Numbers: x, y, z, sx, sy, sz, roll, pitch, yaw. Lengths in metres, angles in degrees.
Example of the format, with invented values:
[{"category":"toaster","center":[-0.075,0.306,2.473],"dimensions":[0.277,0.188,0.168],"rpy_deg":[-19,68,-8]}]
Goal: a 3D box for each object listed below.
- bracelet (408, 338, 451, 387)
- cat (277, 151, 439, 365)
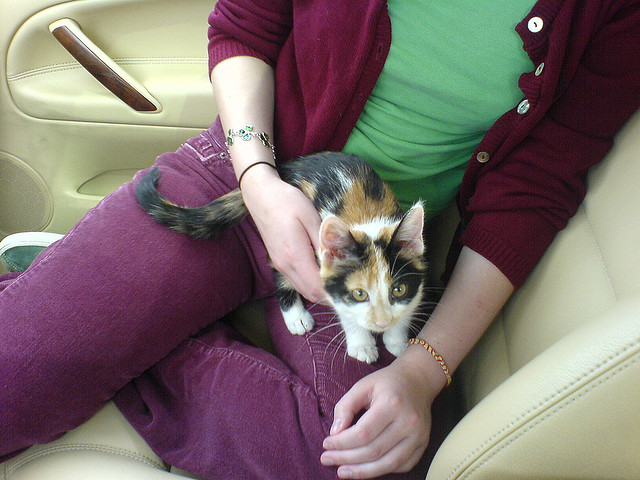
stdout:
[{"category":"bracelet","center":[0.276,0.297,1.387],"dimensions":[0.090,0.029,0.121],"rpy_deg":[-30,76,29]},{"category":"cat","center":[0.071,0.024,1.568],"dimensions":[0.367,0.353,0.599],"rpy_deg":[-9,59,-8]}]
